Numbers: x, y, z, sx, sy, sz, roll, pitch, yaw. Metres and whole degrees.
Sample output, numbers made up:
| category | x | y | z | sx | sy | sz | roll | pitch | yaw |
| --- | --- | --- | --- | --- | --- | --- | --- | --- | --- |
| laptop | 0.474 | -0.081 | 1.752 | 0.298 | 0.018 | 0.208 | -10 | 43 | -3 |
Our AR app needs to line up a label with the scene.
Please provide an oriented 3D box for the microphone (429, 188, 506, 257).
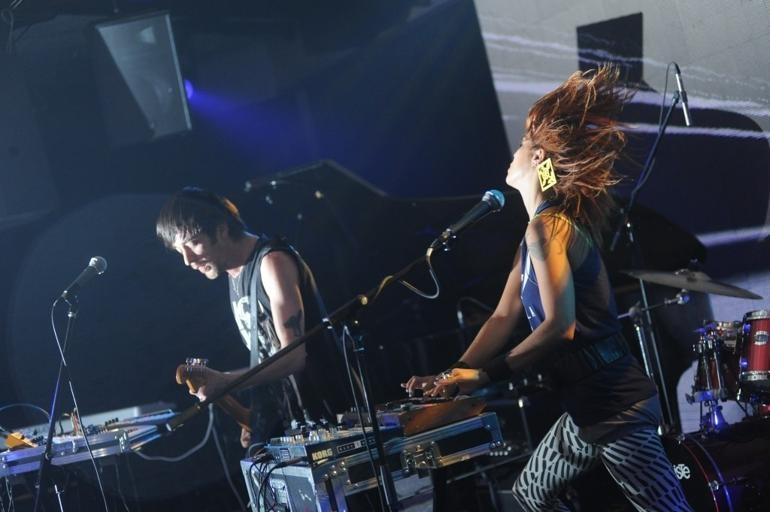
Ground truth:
| category | x | y | z | sx | sy | sz | roll | pitch | yaw |
| --- | --- | --- | --- | --- | --- | --- | --- | --- | --- |
| microphone | 0.739 | -0.276 | 5.259 | 0.827 | 0.254 | 0.251 | -44 | 3 | -6 |

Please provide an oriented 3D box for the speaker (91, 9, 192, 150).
| category | x | y | z | sx | sy | sz | roll | pitch | yaw |
| --- | --- | --- | --- | --- | --- | --- | --- | --- | --- |
| speaker | -2.006 | -1.461 | 4.971 | 0.785 | 1.059 | 0.272 | -11 | 6 | -4 |

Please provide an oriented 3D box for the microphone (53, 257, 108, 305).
| category | x | y | z | sx | sy | sz | roll | pitch | yaw |
| --- | --- | --- | --- | --- | --- | --- | --- | --- | --- |
| microphone | -2.861 | 0.238 | 5.629 | 0.504 | 0.149 | 0.155 | -47 | -25 | -31 |

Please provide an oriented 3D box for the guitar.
| category | x | y | z | sx | sy | sz | roll | pitch | yaw |
| --- | --- | --- | --- | --- | --- | --- | --- | --- | --- |
| guitar | -1.093 | 1.025 | 4.075 | 0.503 | 0.728 | 0.976 | -13 | -7 | -15 |

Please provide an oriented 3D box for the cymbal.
| category | x | y | z | sx | sy | sz | roll | pitch | yaw |
| --- | --- | --- | --- | --- | --- | --- | --- | --- | --- |
| cymbal | 2.366 | 0.212 | 4.662 | 0.461 | 0.108 | 0.476 | 13 | -7 | 19 |

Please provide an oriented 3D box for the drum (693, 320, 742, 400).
| category | x | y | z | sx | sy | sz | roll | pitch | yaw |
| --- | --- | --- | --- | --- | --- | --- | --- | --- | --- |
| drum | 2.665 | 0.826 | 4.821 | 0.460 | 0.562 | 0.341 | 0 | 1 | 31 |
